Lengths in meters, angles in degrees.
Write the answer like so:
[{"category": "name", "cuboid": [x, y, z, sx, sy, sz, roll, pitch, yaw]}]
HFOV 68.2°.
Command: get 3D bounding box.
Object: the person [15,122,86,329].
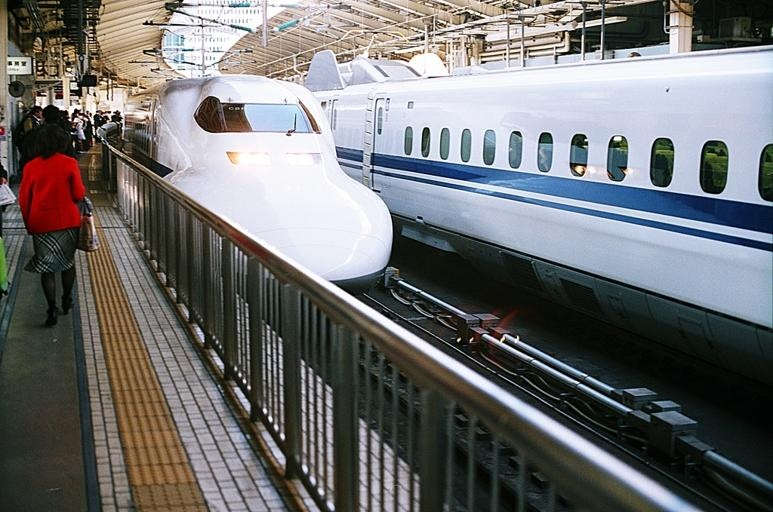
[{"category": "person", "cuboid": [-3.919, -0.344, 6.635, 0.658, 2.296, 0.508, 4, 12, -31]}]
